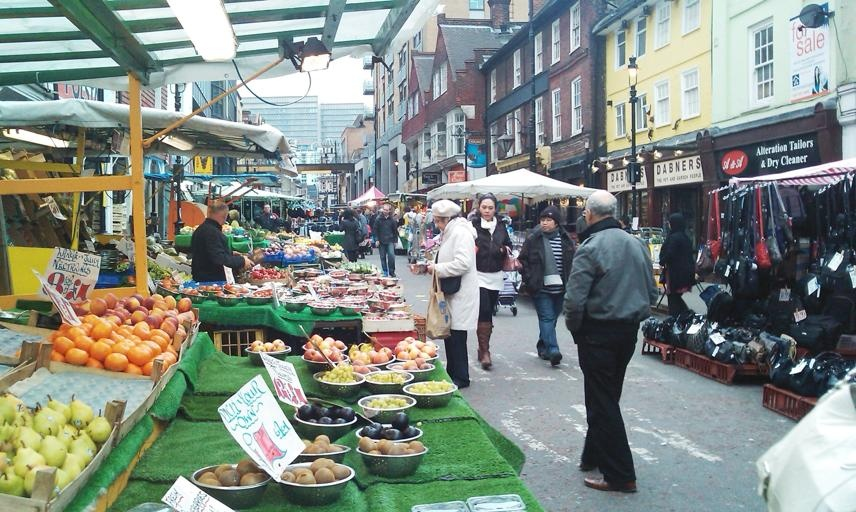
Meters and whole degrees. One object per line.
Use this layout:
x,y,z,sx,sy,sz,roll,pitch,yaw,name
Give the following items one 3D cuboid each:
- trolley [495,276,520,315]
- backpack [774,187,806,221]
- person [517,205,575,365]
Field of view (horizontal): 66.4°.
1.751,0.950,15.613,0.600,0.887,0.935,-4,-5,-7,trolley
6.473,-0.955,11.680,0.381,0.490,0.454,-3,-6,28,backpack
2.014,0.461,11.197,1.012,2.579,0.953,1,0,1,person
